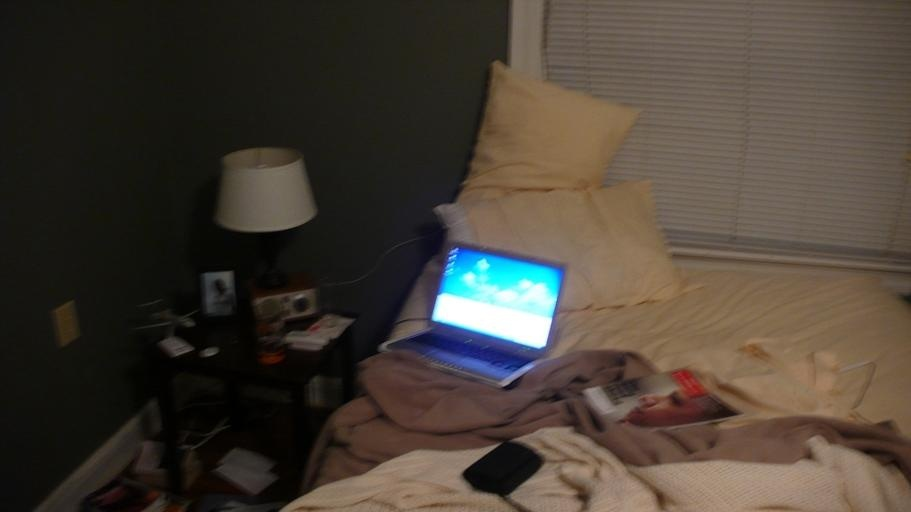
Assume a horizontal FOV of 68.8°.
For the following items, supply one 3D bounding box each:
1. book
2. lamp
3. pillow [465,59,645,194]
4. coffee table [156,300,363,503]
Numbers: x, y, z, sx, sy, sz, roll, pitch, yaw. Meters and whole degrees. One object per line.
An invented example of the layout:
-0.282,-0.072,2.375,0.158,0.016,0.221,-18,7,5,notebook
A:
0.834,0.585,2.657,0.516,0.036,0.319,-8,28,2,book
-0.925,-0.130,3.273,0.417,0.767,0.419,27,37,25,lamp
0.492,-0.590,3.356,0.773,0.608,0.428,9,32,2,pillow
-0.880,0.729,3.453,1.046,0.803,0.916,5,27,9,coffee table
